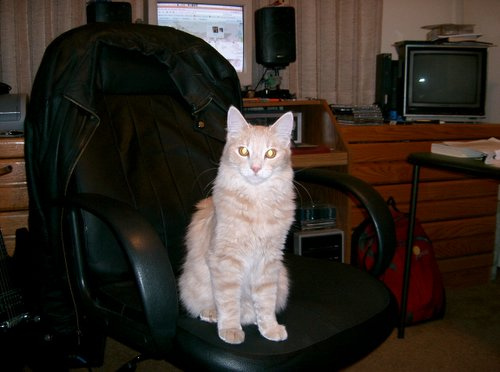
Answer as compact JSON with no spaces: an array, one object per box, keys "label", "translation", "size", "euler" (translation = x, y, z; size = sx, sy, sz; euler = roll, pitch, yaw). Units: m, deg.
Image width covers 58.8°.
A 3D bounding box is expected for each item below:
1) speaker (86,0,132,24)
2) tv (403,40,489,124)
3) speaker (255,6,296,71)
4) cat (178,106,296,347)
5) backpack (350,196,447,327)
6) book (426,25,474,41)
[{"label":"speaker","translation":[-0.657,-0.831,2.101],"size":[0.259,0.114,0.145],"euler":[10,16,40]},{"label":"tv","translation":[1.255,-0.700,2.894],"size":[0.491,0.495,0.312],"euler":[1,9,-2]},{"label":"speaker","translation":[0.154,-0.934,2.735],"size":[0.244,0.333,0.112],"euler":[0,11,0]},{"label":"cat","translation":[-0.053,0.092,1.437],"size":[0.390,0.685,0.493],"euler":[1,12,5]},{"label":"backpack","translation":[0.874,0.416,2.497],"size":[0.620,0.720,0.274],"euler":[-3,12,-11]},{"label":"book","translation":[1.331,-1.040,2.960],"size":[0.279,0.087,0.174],"euler":[5,13,22]}]
